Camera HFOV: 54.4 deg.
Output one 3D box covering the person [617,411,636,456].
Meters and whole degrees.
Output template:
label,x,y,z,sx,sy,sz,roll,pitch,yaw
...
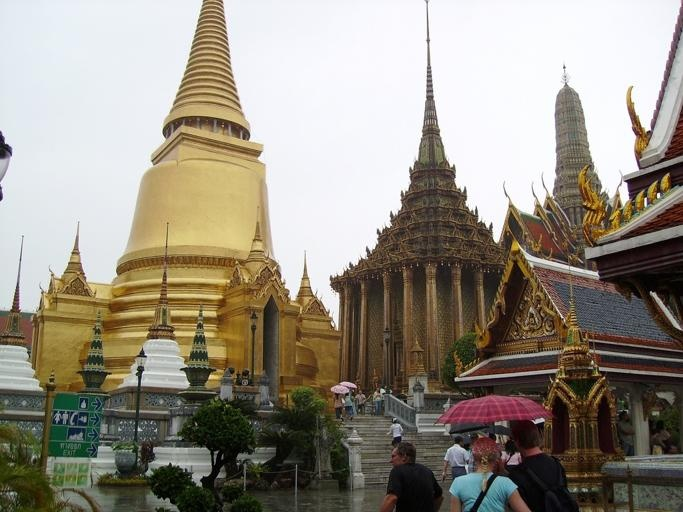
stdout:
label,x,y,z,sx,sy,sz,roll,pitch,yaw
person,4.983,3.072,11.655,0.253,0.880,1.782,-9,-22,22
